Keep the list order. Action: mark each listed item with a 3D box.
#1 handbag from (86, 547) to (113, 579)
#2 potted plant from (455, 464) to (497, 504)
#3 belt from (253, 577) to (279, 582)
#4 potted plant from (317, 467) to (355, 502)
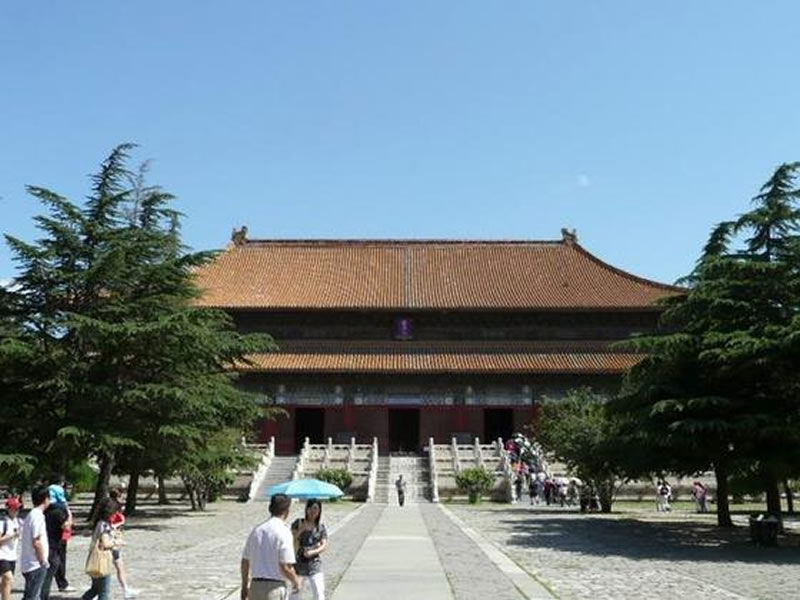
[{"bbox_3d":[-5.644,4.894,16.004,0.432,0.547,0.241,4,-20,-19],"label":"handbag"},{"bbox_3d":[3.358,8.587,39.853,1.660,1.629,1.729,-9,-19,21],"label":"potted plant"},{"bbox_3d":[-2.131,4.322,13.295,0.346,0.041,0.075,-1,-16,-1],"label":"belt"},{"bbox_3d":[-3.075,8.665,40.386,1.816,1.421,1.329,4,-10,-7],"label":"potted plant"}]
